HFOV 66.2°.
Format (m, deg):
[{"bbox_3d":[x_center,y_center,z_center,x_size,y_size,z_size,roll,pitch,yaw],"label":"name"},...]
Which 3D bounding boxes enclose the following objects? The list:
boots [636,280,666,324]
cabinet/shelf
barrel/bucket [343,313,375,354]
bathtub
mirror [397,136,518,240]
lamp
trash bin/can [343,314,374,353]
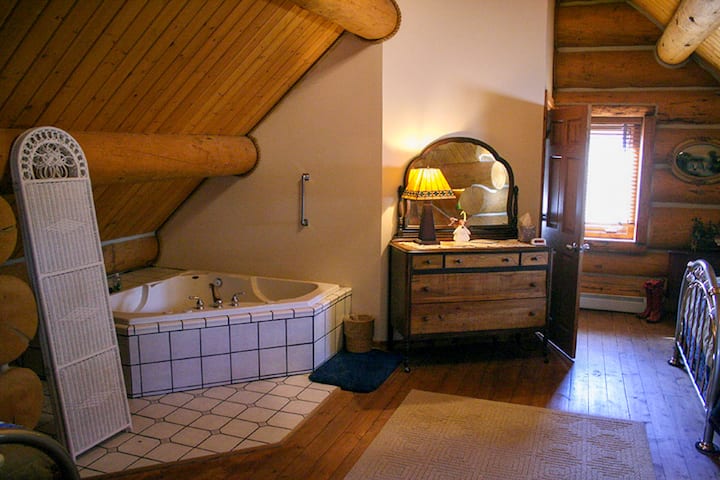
[{"bbox_3d":[3.048,0.616,5.725,0.220,0.404,0.397,5,7,28],"label":"boots"},{"bbox_3d":[0.947,0.461,4.805,1.401,0.808,0.516,-1,2,-22],"label":"cabinet/shelf"},{"bbox_3d":[-0.007,0.829,4.951,0.305,0.260,0.317,0,7,0],"label":"barrel/bucket"},{"bbox_3d":[-1.123,0.748,4.764,1.870,0.748,1.116,-2,7,-23],"label":"bathtub"},{"bbox_3d":[0.892,-0.465,4.932,1.217,0.890,0.105,-1,7,-16],"label":"mirror"},{"bbox_3d":[0.606,-0.286,4.889,0.531,0.643,0.499,-1,2,9],"label":"lamp"},{"bbox_3d":[-0.005,0.828,4.951,0.299,0.261,0.320,6,8,42],"label":"trash bin/can"}]
